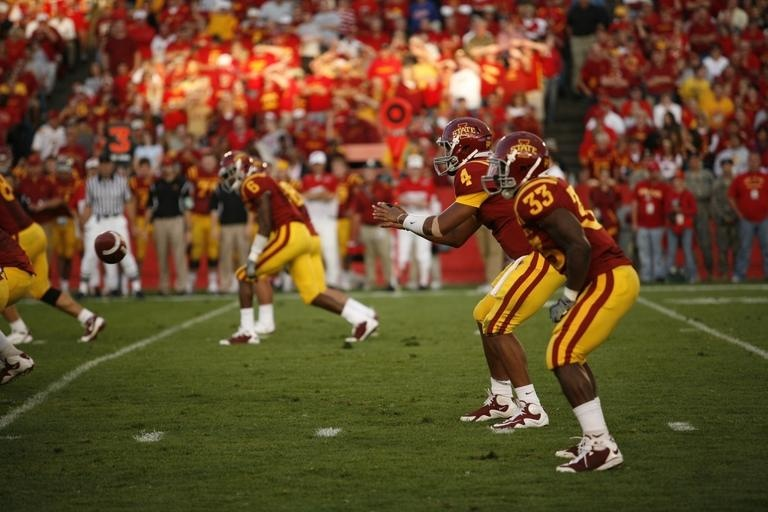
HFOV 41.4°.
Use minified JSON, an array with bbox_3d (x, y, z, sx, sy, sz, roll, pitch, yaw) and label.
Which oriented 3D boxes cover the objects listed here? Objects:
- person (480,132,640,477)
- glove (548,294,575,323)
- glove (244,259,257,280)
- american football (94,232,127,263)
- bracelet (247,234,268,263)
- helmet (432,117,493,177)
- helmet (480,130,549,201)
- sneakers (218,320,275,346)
[{"bbox_3d":[1.592,0.317,8.503,0.885,2.620,1.277,-9,16,-25],"label":"person"},{"bbox_3d":[1.461,0.448,8.418,0.084,0.228,0.174,40,16,-28],"label":"glove"},{"bbox_3d":[-1.512,0.153,11.418,0.092,0.183,0.136,6,21,-2],"label":"glove"},{"bbox_3d":[-3.097,-0.112,11.421,0.275,0.318,0.278,-26,21,32],"label":"american football"},{"bbox_3d":[-1.429,-0.105,11.409,0.224,0.321,0.090,-4,15,-8],"label":"bracelet"},{"bbox_3d":[0.750,-1.050,9.487,0.620,0.509,0.466,-6,2,18],"label":"helmet"},{"bbox_3d":[1.148,-0.811,8.714,0.651,0.516,0.495,-1,10,9],"label":"helmet"},{"bbox_3d":[-1.571,0.886,11.697,0.707,0.288,0.235,0,6,-16],"label":"sneakers"}]
